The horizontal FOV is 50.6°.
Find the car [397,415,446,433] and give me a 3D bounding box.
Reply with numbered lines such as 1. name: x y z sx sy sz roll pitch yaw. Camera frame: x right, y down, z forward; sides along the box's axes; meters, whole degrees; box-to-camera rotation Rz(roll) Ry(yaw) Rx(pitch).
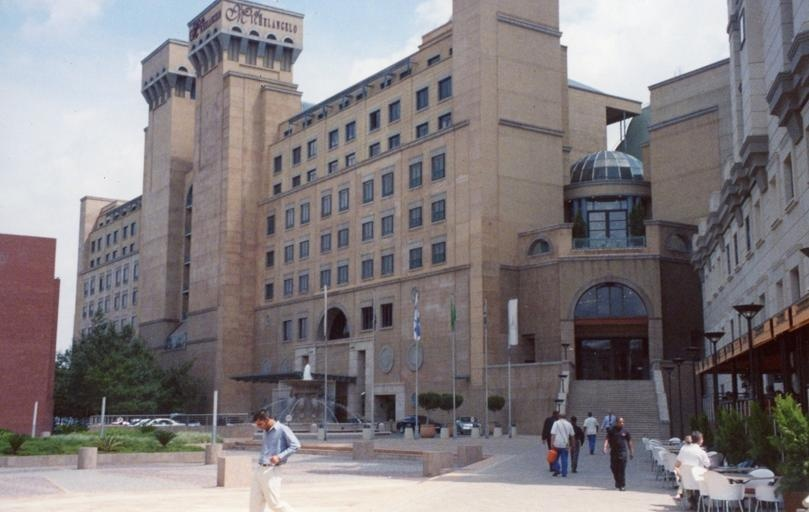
1. car: 1.096 14.472 75.243 3.965 1.326 1.970 -8 -14 29
